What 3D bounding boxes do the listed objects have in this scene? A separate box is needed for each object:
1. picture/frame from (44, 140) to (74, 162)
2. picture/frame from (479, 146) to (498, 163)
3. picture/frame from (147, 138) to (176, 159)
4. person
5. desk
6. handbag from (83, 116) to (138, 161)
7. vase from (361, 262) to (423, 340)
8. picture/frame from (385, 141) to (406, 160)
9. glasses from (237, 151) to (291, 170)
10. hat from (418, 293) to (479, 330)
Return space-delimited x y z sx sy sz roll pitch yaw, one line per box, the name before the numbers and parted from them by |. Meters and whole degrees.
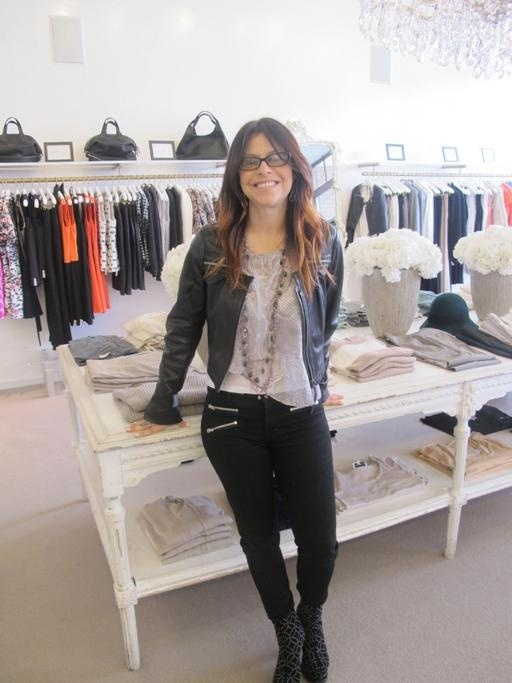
picture/frame | -1.458 -1.408 3.784 0.196 0.140 0.015 -4 12 -17
picture/frame | 2.563 -2.074 5.665 0.178 0.137 0.017 -26 16 -29
picture/frame | -0.756 -1.534 4.086 0.191 0.136 0.013 -8 5 -36
person | -0.028 0.161 1.323 0.477 1.406 0.432 1 12 12
desk | -0.109 0.273 1.755 1.493 0.654 0.852 -11 32 -21
handbag | -1.067 -1.478 3.818 0.397 0.354 0.201 0 -5 -8
vase | 0.540 -0.158 2.055 0.261 0.279 0.258 1 10 11
picture/frame | 1.374 -1.892 5.078 0.248 0.200 0.019 -4 0 -32
glasses | 0.021 -0.430 1.220 0.116 0.043 0.023 -1 11 0
hat | 0.785 -0.115 2.091 0.155 0.098 0.173 9 24 28
